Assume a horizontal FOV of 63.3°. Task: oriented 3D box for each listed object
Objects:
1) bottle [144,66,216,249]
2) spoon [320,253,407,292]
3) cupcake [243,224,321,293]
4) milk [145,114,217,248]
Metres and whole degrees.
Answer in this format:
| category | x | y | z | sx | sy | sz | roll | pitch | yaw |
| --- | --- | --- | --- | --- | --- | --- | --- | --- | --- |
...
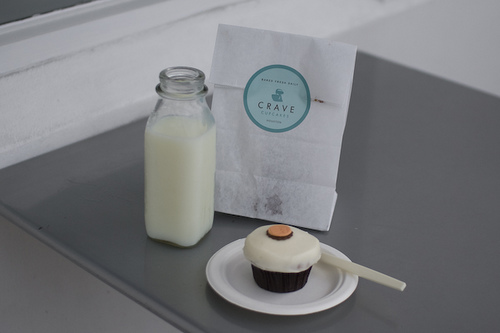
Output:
| category | x | y | z | sx | sy | sz | roll | pitch | yaw |
| --- | --- | --- | --- | --- | --- | --- | --- | --- | --- |
| bottle | -0.120 | -0.006 | 0.690 | 0.119 | 0.323 | 0.120 | 3 | 26 | -1 |
| spoon | 0.186 | 0.179 | 0.672 | 0.144 | 0.010 | 0.020 | 23 | 79 | 17 |
| cupcake | 0.050 | 0.149 | 0.651 | 0.120 | 0.086 | 0.073 | 7 | 29 | 7 |
| milk | -0.127 | -0.006 | 0.739 | 0.133 | 0.245 | 0.133 | 17 | 21 | 37 |
